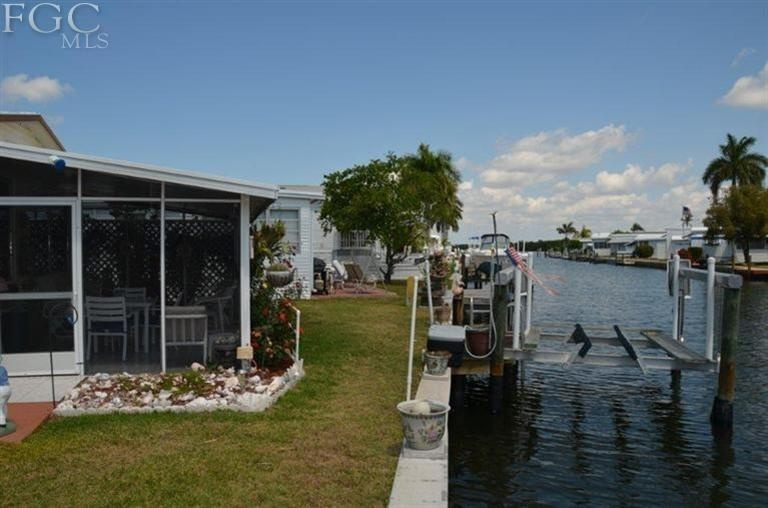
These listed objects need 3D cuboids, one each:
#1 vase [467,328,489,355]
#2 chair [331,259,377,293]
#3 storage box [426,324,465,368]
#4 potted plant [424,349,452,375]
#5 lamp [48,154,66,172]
[{"bbox_3d":[2.262,2.104,15.511,0.591,0.577,0.620,2,-6,-43],"label":"vase"},{"bbox_3d":[-1.555,1.018,29.362,1.590,1.040,1.578,2,-2,-14],"label":"chair"},{"bbox_3d":[1.489,2.125,15.372,0.928,0.923,0.797,5,17,11],"label":"storage box"},{"bbox_3d":[1.235,2.551,15.291,0.587,0.417,0.567,1,-5,-1],"label":"potted plant"},{"bbox_3d":[-6.824,-1.934,13.706,0.321,0.291,0.304,28,5,29],"label":"lamp"}]
